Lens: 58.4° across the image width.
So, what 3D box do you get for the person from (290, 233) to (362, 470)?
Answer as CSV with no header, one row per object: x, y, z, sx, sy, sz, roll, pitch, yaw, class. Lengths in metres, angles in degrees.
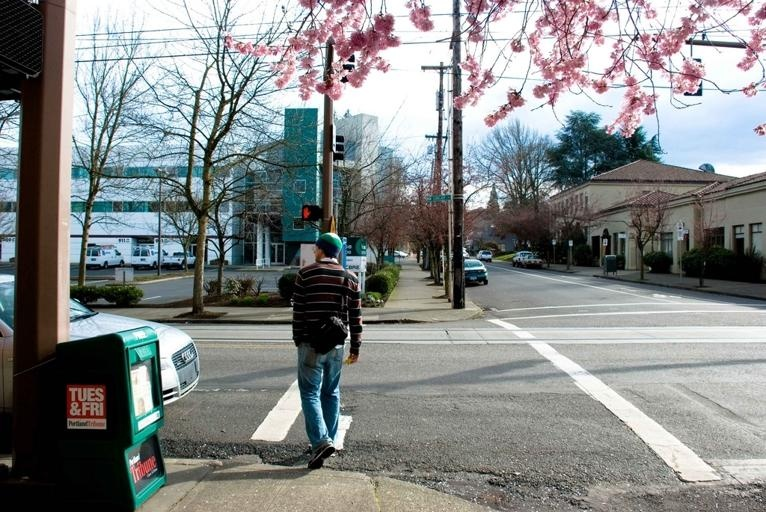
-0.674,1.109,8.467,0.807,2.828,0.582,-2,0,-20,person

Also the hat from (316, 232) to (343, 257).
-0.700,-0.165,8.792,0.275,0.254,0.320,18,20,-47,hat

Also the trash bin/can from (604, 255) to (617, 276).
13.617,0.486,41.029,0.669,1.161,1.018,-2,0,12,trash bin/can

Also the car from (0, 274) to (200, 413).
-4.140,1.124,9.158,2.848,1.004,1.340,0,3,8,car

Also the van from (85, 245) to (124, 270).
-22.798,0.060,55.841,1.692,1.448,2.960,0,6,10,van

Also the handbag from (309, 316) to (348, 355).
-0.659,0.946,8.395,0.452,0.439,0.158,-2,0,-13,handbag

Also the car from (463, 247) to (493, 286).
4.668,0.592,35.017,1.409,1.084,3.142,0,11,2,car
